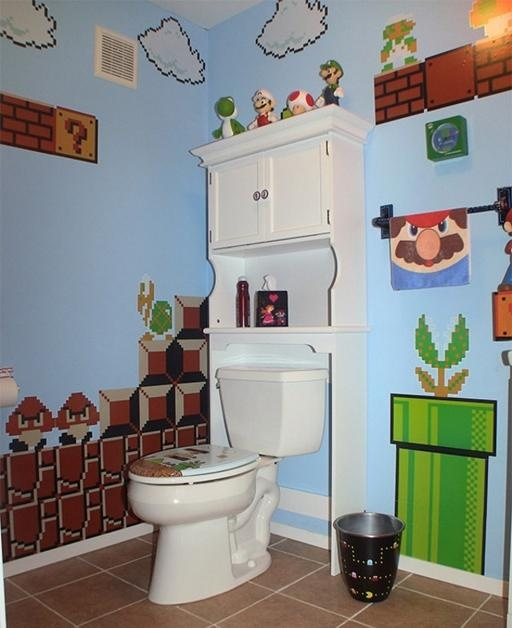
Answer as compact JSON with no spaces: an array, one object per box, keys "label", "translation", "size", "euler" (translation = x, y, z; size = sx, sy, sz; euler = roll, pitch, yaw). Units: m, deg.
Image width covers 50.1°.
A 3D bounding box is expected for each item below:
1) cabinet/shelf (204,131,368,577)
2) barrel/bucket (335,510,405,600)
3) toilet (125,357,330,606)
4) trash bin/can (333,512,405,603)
[{"label":"cabinet/shelf","translation":[0.106,0.026,2.228],"size":[0.675,1.530,0.252],"euler":[8,16,37]},{"label":"barrel/bucket","translation":[0.361,0.762,1.755],"size":[0.222,0.232,0.267],"euler":[0,2,28]},{"label":"toilet","translation":[-0.098,0.555,1.903],"size":[0.704,0.711,0.361],"euler":[-2,2,-43]},{"label":"trash bin/can","translation":[0.359,0.745,1.760],"size":[0.223,0.233,0.230],"euler":[-8,-12,41]}]
